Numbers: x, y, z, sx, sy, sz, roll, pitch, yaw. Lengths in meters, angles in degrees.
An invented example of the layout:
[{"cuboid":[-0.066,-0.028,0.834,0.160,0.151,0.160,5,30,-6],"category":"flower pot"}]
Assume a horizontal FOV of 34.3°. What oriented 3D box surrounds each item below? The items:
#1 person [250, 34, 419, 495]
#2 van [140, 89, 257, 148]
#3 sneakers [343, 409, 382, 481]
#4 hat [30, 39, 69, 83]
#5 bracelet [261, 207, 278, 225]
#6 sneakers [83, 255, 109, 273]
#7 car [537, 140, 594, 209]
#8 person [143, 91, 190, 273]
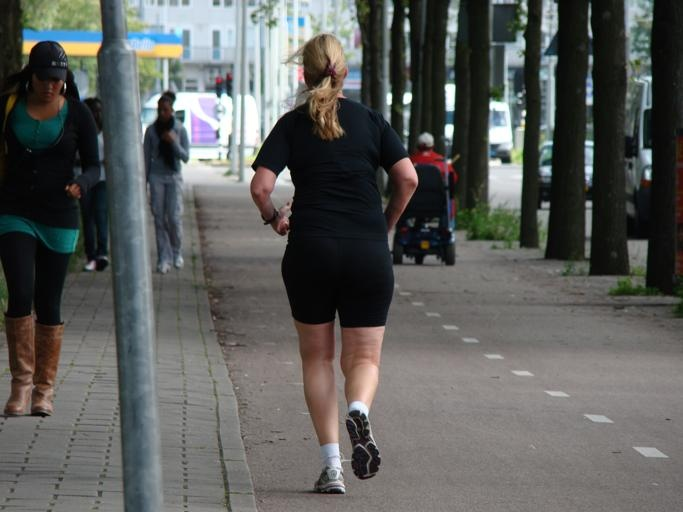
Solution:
[{"cuboid":[-0.049,0.072,6.092,0.887,2.572,0.586,2,5,3],"category":"person"},{"cuboid":[-6.753,-6.606,56.773,6.436,3.336,2.555,4,10,19],"category":"van"},{"cuboid":[0.113,1.017,5.969,0.150,0.392,0.177,-12,-5,-3],"category":"sneakers"},{"cuboid":[-1.909,-1.273,7.232,0.259,0.260,0.277,0,6,-16],"category":"hat"},{"cuboid":[-0.408,-0.209,6.189,0.089,0.048,0.078,-26,-7,30],"category":"bracelet"},{"cuboid":[-3.233,0.124,14.692,0.360,0.175,0.150,0,1,16],"category":"sneakers"},{"cuboid":[4.936,-1.831,24.134,1.266,1.290,2.493,0,-1,2],"category":"car"},{"cuboid":[-2.306,-0.963,14.624,0.590,2.410,0.980,0,5,-10],"category":"person"}]
